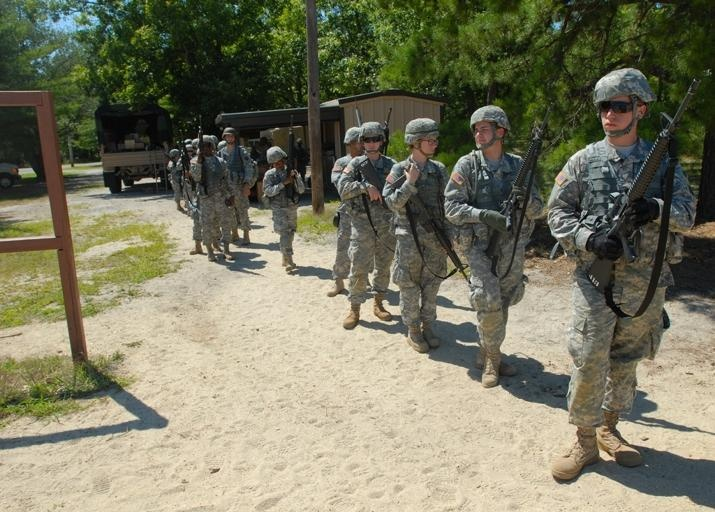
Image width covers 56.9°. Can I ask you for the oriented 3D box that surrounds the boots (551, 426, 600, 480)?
[{"bbox_3d":[1.926,1.716,5.943,0.655,0.406,0.233,-15,12,-28],"label":"boots"}]

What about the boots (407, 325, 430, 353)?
[{"bbox_3d":[0.714,1.006,7.870,0.178,0.247,0.388,-7,7,-19],"label":"boots"}]

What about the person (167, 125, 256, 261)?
[{"bbox_3d":[-2.661,-1.120,12.022,1.197,2.242,1.112,3,17,-8],"label":"person"}]

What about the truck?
[{"bbox_3d":[-8.731,-4.272,25.858,2.510,3.268,4.005,-7,16,-20],"label":"truck"}]

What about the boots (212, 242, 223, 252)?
[{"bbox_3d":[-2.696,-0.161,12.722,0.208,0.069,0.149,31,41,-13],"label":"boots"}]

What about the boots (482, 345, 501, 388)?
[{"bbox_3d":[1.444,1.167,7.142,0.180,0.341,0.539,2,22,21],"label":"boots"}]

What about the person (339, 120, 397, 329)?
[{"bbox_3d":[-0.064,-0.478,8.722,0.953,2.420,0.955,2,18,-10],"label":"person"}]

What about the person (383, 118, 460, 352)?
[{"bbox_3d":[0.752,-0.248,7.914,0.930,2.706,0.807,4,17,-4],"label":"person"}]

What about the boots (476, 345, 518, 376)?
[{"bbox_3d":[1.524,1.167,7.272,0.501,0.296,0.162,12,39,23],"label":"boots"}]

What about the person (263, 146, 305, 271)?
[{"bbox_3d":[-1.244,-0.784,11.071,0.724,2.020,0.705,1,14,-5],"label":"person"}]

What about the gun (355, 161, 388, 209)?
[{"bbox_3d":[0.159,-1.049,8.509,0.356,0.159,0.912,-16,54,-11],"label":"gun"}]

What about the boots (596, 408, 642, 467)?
[{"bbox_3d":[2.331,1.619,5.940,0.205,0.383,0.597,-7,8,-10],"label":"boots"}]

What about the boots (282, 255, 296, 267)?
[{"bbox_3d":[-1.154,0.077,11.095,0.213,0.199,0.184,-2,21,2],"label":"boots"}]
